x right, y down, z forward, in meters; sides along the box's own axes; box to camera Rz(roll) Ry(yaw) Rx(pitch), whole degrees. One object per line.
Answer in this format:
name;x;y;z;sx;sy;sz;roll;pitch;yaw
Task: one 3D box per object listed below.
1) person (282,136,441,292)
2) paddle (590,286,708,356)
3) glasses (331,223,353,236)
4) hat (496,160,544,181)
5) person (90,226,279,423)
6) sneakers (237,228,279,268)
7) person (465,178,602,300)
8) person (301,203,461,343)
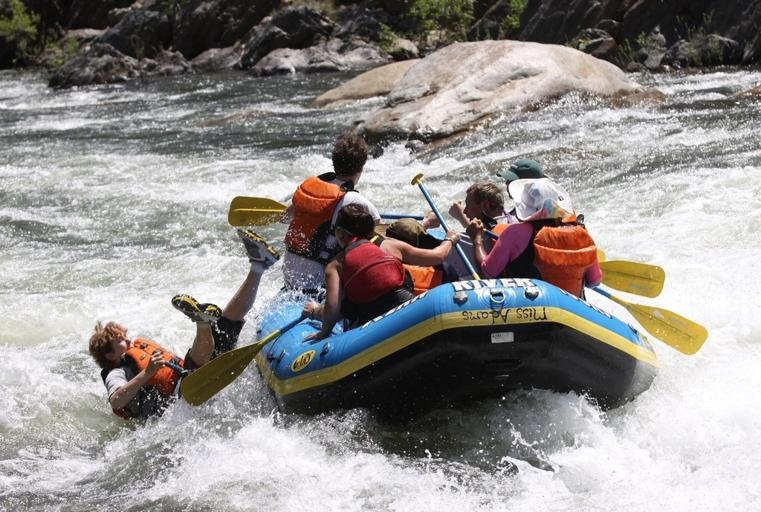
person;-0.173;-0.439;9.741;1.053;2.232;1.200;28;29;22
paddle;2.744;0.677;8.828;1.183;0.294;0.066;32;29;20
glasses;-0.345;-0.249;8.343;0.137;0.042;0.101;28;13;13
hat;1.447;-0.877;9.064;0.399;0.191;0.261;1;3;0
person;-1.850;0.839;8.926;2.201;1.025;1.435;-34;-2;5
sneakers;-1.379;-0.069;9.703;0.174;0.224;0.495;-41;84;-5
person;1.535;-0.123;8.286;0.908;0.569;1.265;-10;38;0
person;-0.044;0.218;8.460;0.971;0.912;0.607;-20;45;-11
